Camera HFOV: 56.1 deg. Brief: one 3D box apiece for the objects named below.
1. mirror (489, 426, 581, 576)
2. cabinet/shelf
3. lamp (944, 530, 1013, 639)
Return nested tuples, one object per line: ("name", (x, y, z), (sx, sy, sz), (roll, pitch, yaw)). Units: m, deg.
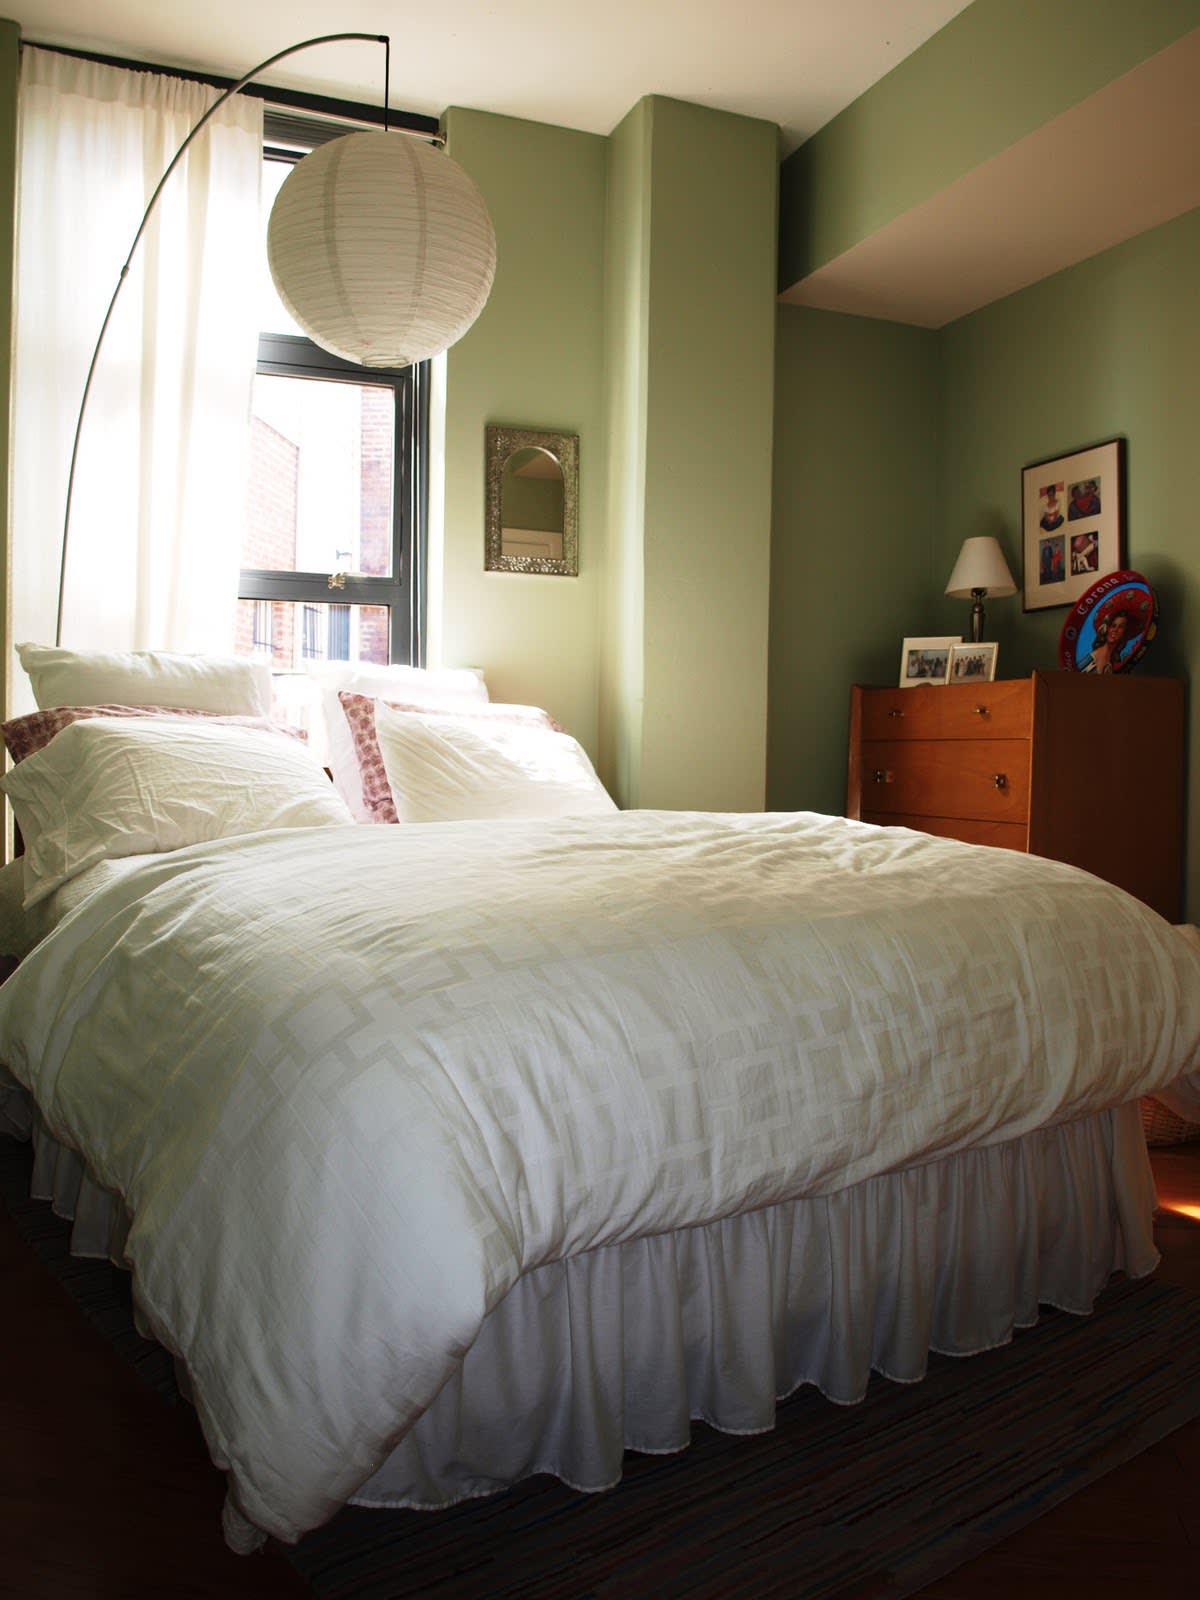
("mirror", (-0.224, -0.984, 3.647), (0.419, 0.677, 0.031), (0, -1, -30))
("cabinet/shelf", (1.298, 0.234, 3.633), (0.574, 1.065, 1.018), (2, -1, -22))
("lamp", (1.354, -0.772, 3.982), (0.217, 0.433, 0.376), (1, 1, 20))
